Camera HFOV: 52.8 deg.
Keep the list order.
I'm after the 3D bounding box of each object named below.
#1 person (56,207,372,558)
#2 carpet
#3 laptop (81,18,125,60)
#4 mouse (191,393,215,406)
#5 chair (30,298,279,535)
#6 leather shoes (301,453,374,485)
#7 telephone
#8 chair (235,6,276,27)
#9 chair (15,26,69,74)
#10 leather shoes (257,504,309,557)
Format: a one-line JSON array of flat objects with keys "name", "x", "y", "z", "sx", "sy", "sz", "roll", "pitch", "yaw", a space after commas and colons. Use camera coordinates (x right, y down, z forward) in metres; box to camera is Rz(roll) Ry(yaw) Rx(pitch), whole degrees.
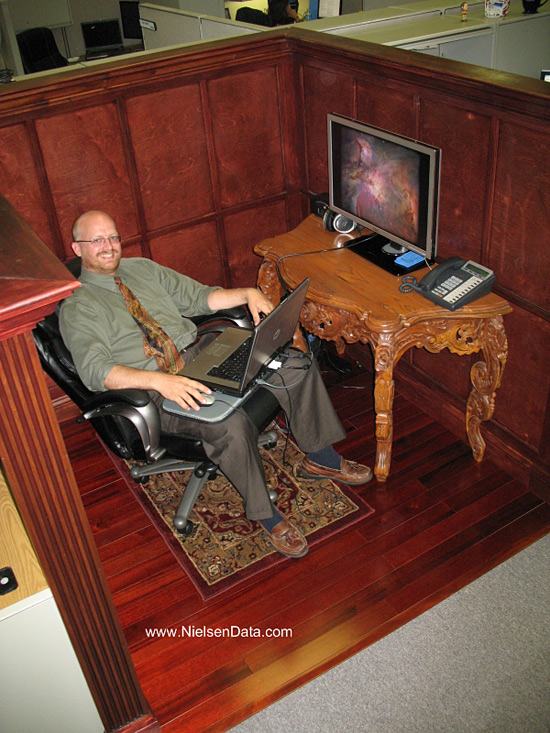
[{"name": "person", "x": -0.242, "y": 0.090, "z": 2.192, "sx": 1.257, "sy": 0.964, "sz": 0.766, "roll": 25, "pitch": 56, "yaw": 22}, {"name": "carpet", "x": -0.059, "y": 0.603, "z": 2.282, "sx": 0.727, "sy": 0.007, "sz": 1.037, "roll": -20, "pitch": 41, "yaw": -23}, {"name": "laptop", "x": -2.617, "y": -4.994, "z": 8.383, "sx": 0.617, "sy": 0.475, "sz": 0.551, "roll": -14, "pitch": 31, "yaw": -11}, {"name": "mouse", "x": -0.240, "y": 0.116, "z": 1.890, "sx": 0.057, "sy": 0.016, "sz": 0.037, "roll": -16, "pitch": 22, "yaw": 22}, {"name": "chair", "x": -0.397, "y": 0.113, "z": 2.115, "sx": 0.639, "sy": 0.824, "sz": 0.614, "roll": -1, "pitch": 28, "yaw": 31}, {"name": "leather shoes", "x": 0.273, "y": 0.450, "z": 2.436, "sx": 0.295, "sy": 0.108, "sz": 0.116, "roll": -1, "pitch": 35, "yaw": 9}, {"name": "telephone", "x": 0.659, "y": -0.311, "z": 2.013, "sx": 0.198, "sy": 0.077, "sz": 0.200, "roll": -28, "pitch": 39, "yaw": -9}, {"name": "chair", "x": -0.180, "y": -3.462, "z": 5.447, "sx": 0.328, "sy": 0.194, "sz": 0.529, "roll": -12, "pitch": 30, "yaw": -8}, {"name": "chair", "x": -2.617, "y": -3.580, "z": 6.240, "sx": 0.524, "sy": 0.412, "sz": 0.355, "roll": -23, "pitch": 34, "yaw": -25}, {"name": "leather shoes", "x": 0.012, "y": 0.599, "z": 2.148, "sx": 0.124, "sy": 0.102, "sz": 0.266, "roll": -33, "pitch": 45, "yaw": -21}]
